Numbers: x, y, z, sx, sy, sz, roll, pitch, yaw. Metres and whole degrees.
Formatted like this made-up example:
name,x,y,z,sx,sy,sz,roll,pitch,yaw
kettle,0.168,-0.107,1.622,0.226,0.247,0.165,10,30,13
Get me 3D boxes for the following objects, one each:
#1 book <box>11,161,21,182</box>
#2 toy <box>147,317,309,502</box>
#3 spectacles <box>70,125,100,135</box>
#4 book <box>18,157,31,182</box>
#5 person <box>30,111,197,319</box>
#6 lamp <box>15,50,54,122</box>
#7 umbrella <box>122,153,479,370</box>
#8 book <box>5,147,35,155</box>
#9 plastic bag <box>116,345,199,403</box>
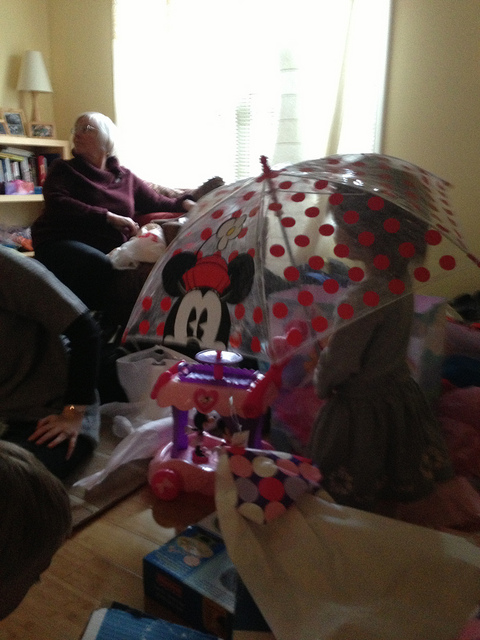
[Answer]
name,x,y,z,sx,sy,sz,roll,pitch,yaw
book,-1.588,-1.044,3.388,0.033,0.139,0.083,-5,9,-6
toy,-0.033,0.208,1.165,0.394,0.379,0.228,1,6,18
spectacles,-0.828,-1.040,2.606,0.095,0.027,0.095,0,-3,30
book,-1.561,-1.075,3.457,0.037,0.129,0.144,16,-18,-42
person,-0.643,-0.505,2.622,0.976,1.266,0.603,0,5,9
lamp,-1.504,-1.692,3.459,0.252,0.521,0.235,-6,10,-11
umbrella,0.123,-0.020,0.800,0.446,0.197,0.418,-19,20,18
book,-1.591,-1.203,3.428,0.149,0.031,0.137,2,9,-3
plastic bag,-0.302,0.139,1.643,0.234,0.180,0.274,0,0,43
